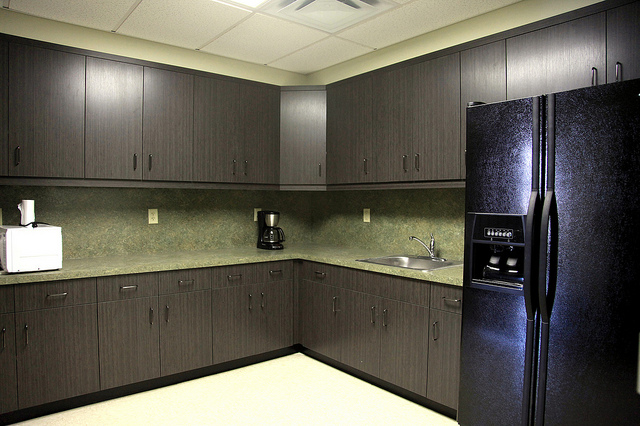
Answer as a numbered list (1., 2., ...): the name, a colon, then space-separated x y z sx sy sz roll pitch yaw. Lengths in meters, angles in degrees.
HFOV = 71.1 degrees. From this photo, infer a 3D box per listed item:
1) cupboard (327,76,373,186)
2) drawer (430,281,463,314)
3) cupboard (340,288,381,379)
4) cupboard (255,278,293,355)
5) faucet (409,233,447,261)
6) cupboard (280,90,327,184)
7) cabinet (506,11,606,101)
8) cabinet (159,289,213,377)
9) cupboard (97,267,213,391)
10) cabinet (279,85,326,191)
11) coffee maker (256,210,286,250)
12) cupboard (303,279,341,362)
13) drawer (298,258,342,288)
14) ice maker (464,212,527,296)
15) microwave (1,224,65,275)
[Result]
1. cupboard: 0.267 -0.745 4.289 0.305 0.866 0.488 -3 5 -33
2. drawer: 0.943 0.599 3.329 0.184 0.182 0.272 4 -3 -42
3. cupboard: 0.339 1.011 3.827 0.243 0.614 0.406 0 6 -10
4. cupboard: -0.426 0.944 4.231 0.326 0.641 0.344 6 7 42
5. faucet: 0.951 0.306 3.992 0.246 0.177 0.247 8 -10 -40
6. cupboard: -0.268 -0.804 4.791 0.619 1.027 0.631 -5 10 -29
7. cabinet: 1.621 -1.057 3.084 0.685 0.454 0.335 6 8 40
8. cabinet: -1.143 0.999 3.900 0.389 0.640 0.448 -1 6 -41
9. cupboard: -1.383 0.945 3.667 1.065 0.954 0.533 0 -3 -35
10. cabinet: -0.122 -0.767 4.691 0.559 0.975 0.467 4 7 30
11. coffee maker: -0.517 0.161 4.650 0.284 0.387 0.372 -1 10 -8
12. cupboard: 0.007 0.982 4.159 0.307 0.653 0.346 -3 5 -42
13. drawer: 0.161 0.553 4.264 0.440 0.196 0.553 1 2 -41
14. ice maker: 1.147 0.235 2.860 0.401 0.496 0.369 1 6 24
15. microwave: -2.106 0.246 3.333 0.373 0.380 0.394 1 0 -43
